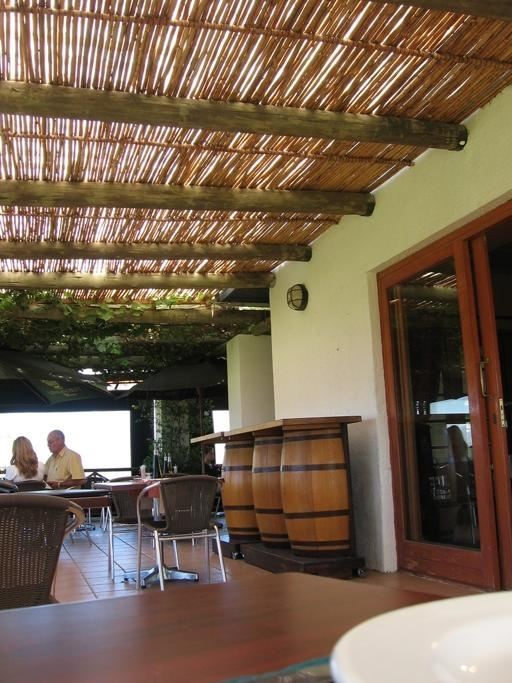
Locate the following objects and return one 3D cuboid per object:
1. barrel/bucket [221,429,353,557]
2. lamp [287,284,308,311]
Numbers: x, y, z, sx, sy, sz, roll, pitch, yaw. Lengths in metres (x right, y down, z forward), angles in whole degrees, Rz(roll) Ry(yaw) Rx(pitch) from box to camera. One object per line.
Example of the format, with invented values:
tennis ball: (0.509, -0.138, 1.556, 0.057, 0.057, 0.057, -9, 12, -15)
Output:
barrel/bucket: (0.275, 1.308, 4.886, 1.236, 1.099, 1.202, 0, -4, 0)
lamp: (0.501, -0.528, 6.255, 0.168, 0.340, 0.295, 0, -10, -19)
